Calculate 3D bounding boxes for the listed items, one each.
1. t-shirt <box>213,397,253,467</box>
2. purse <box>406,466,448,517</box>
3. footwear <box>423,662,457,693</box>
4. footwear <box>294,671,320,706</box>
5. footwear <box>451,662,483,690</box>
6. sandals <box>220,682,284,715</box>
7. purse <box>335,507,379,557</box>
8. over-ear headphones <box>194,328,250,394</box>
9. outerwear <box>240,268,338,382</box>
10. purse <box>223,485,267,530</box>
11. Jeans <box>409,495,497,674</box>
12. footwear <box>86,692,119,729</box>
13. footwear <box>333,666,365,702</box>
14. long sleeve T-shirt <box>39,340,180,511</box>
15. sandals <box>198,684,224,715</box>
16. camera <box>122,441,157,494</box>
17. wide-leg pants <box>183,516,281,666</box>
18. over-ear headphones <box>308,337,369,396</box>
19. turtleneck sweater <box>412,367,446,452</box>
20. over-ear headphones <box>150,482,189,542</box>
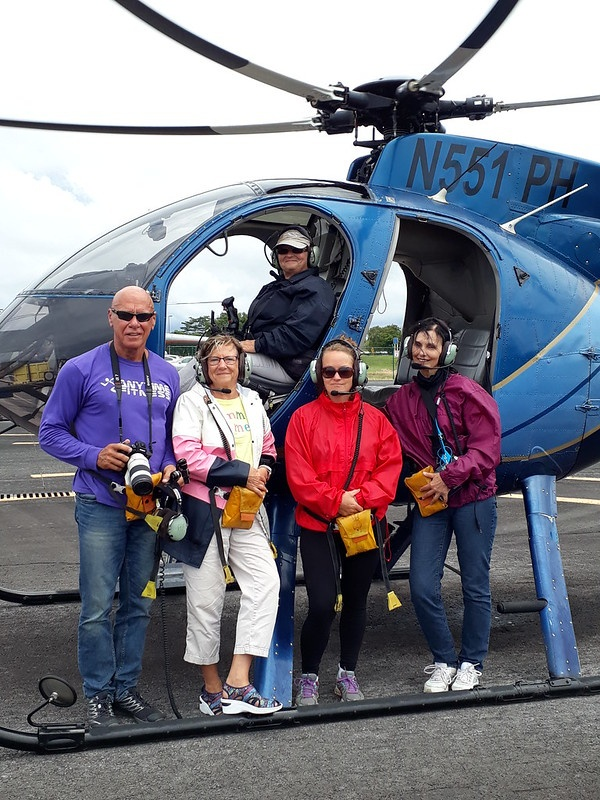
[{"bbox_3d":[-0.296,0.142,3.014,0.171,0.280,0.072,2,-15,-37],"label":"t-shirt"},{"bbox_3d":[0.637,0.436,3.395,0.188,0.237,0.082,-33,-13,35],"label":"purse"},{"bbox_3d":[0.680,1.324,3.311,0.126,0.098,0.242,-5,-13,25],"label":"footwear"},{"bbox_3d":[0.035,1.307,3.052,0.095,0.131,0.202,1,-2,-2],"label":"footwear"},{"bbox_3d":[0.781,1.296,3.208,0.081,0.081,0.199,-2,-16,20],"label":"footwear"},{"bbox_3d":[-0.187,1.190,2.758,0.273,0.120,0.101,1,-6,-3],"label":"sandals"},{"bbox_3d":[0.261,0.581,3.045,0.209,0.220,0.096,-15,-4,-10],"label":"purse"},{"bbox_3d":[-0.340,-0.182,2.961,0.209,0.252,0.147,4,24,-2],"label":"over-ear headphones"},{"bbox_3d":[-0.047,-0.341,3.268,0.326,0.519,0.573,25,-3,-27],"label":"outerwear"},{"bbox_3d":[-0.238,0.442,2.852,0.176,0.177,0.095,16,14,-48],"label":"purse"},{"bbox_3d":[0.780,0.910,3.405,0.493,0.845,0.302,1,-2,-4],"label":"Jeans"},{"bbox_3d":[-0.823,1.274,2.848,0.111,0.109,0.236,1,-3,-21],"label":"footwear"},{"bbox_3d":[0.231,1.322,3.177,0.087,0.091,0.211,2,-10,-11],"label":"footwear"},{"bbox_3d":[-0.787,0.085,2.877,0.775,0.687,0.402,3,-4,-32],"label":"long sleeve T-shirt"},{"bbox_3d":[-0.371,1.254,2.848,0.060,0.070,0.157,8,-12,-19],"label":"sandals"},{"bbox_3d":[-0.612,0.267,2.671,0.103,0.127,0.207,-9,36,-6],"label":"camera"},{"bbox_3d":[-0.284,0.807,2.886,0.395,0.604,0.240,1,-2,-6],"label":"wide-leg pants"},{"bbox_3d":[0.169,-0.153,3.137,0.287,0.252,0.131,1,-10,1],"label":"over-ear headphones"},{"bbox_3d":[0.670,0.015,3.462,0.242,0.320,0.083,-10,-11,32],"label":"turtleneck sweater"},{"bbox_3d":[-0.518,0.439,2.741,0.134,0.223,0.152,3,-3,-43],"label":"over-ear headphones"}]
